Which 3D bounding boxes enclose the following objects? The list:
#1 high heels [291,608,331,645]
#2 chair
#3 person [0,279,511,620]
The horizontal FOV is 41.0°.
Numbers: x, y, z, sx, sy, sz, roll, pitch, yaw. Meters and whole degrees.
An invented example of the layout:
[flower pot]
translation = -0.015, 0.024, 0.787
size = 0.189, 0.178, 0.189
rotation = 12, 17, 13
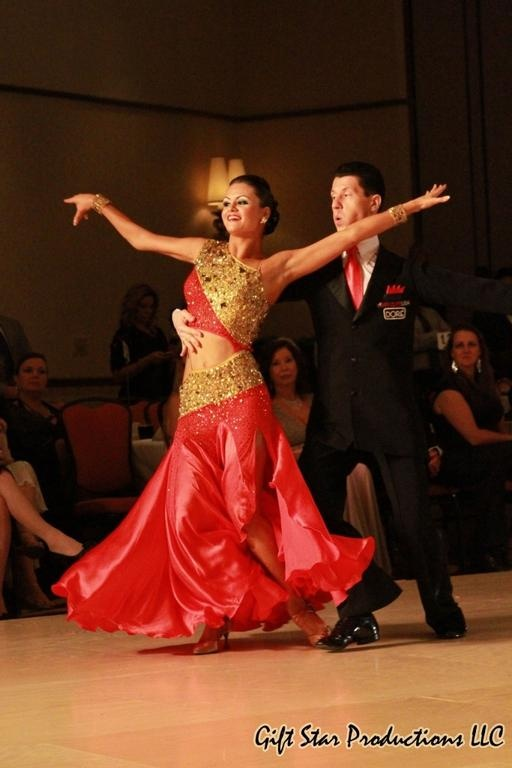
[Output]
[high heels]
translation = 0.173, 0.731, 2.075
size = 0.067, 0.064, 0.165
rotation = -8, 9, -29
[chair]
translation = -0.793, 0.339, 3.486
size = 0.483, 0.751, 0.543
rotation = 2, -15, -29
[person]
translation = -0.060, 0.284, 2.640
size = 1.623, 1.456, 0.519
rotation = -4, -12, 21
